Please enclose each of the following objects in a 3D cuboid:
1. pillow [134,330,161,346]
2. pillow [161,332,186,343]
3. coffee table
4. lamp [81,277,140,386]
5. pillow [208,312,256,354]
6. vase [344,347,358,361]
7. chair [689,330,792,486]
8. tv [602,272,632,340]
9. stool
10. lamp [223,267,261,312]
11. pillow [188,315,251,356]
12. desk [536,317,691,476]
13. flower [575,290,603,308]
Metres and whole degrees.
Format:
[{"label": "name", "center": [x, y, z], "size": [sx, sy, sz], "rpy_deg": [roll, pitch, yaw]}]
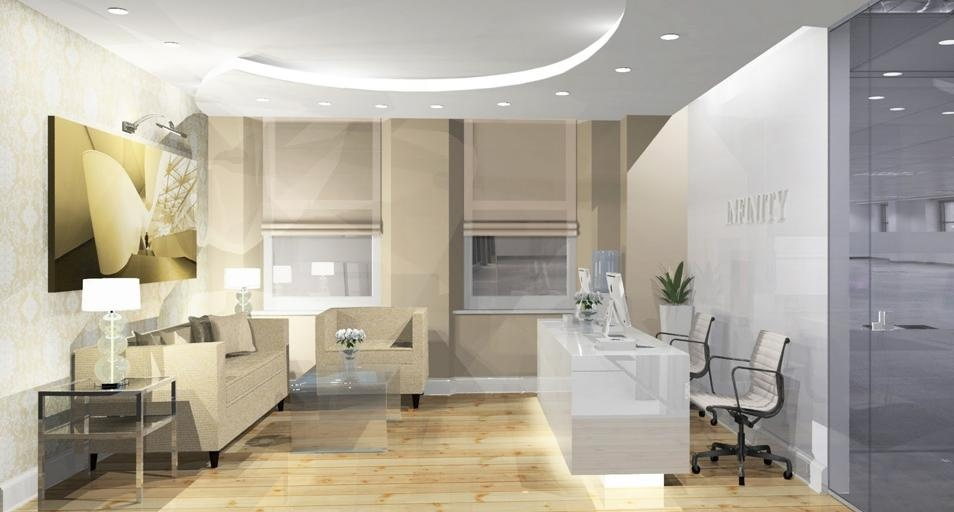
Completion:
[{"label": "pillow", "center": [-3.863, 0.976, 7.088], "size": [0.209, 0.134, 0.260], "rpy_deg": [2, -1, 8]}, {"label": "pillow", "center": [-3.805, 1.035, 7.511], "size": [0.178, 0.094, 0.169], "rpy_deg": [2, -3, -25]}, {"label": "coffee table", "center": [-4.029, 1.768, 6.926], "size": [1.299, 1.345, 1.699], "rpy_deg": [0, -1, -6]}, {"label": "lamp", "center": [-4.003, 0.825, 6.544], "size": [0.503, 1.145, 0.535], "rpy_deg": [0, 0, -36]}, {"label": "pillow", "center": [-3.291, 1.047, 7.997], "size": [0.179, 0.487, 0.573], "rpy_deg": [-22, -12, 27]}, {"label": "vase", "center": [-1.610, 1.256, 7.654], "size": [0.180, 0.111, 0.174], "rpy_deg": [2, -7, -35]}, {"label": "chair", "center": [3.109, 1.690, 7.020], "size": [1.014, 1.611, 1.207], "rpy_deg": [0, 0, 26]}, {"label": "tv", "center": [1.667, 0.627, 7.266], "size": [0.325, 0.809, 0.762], "rpy_deg": [-2, -2, -7]}, {"label": "stool", "center": [-1.648, 1.898, 7.665], "size": [1.130, 0.585, 1.052], "rpy_deg": [0, -3, 0]}, {"label": "lamp", "center": [-3.361, 0.503, 8.591], "size": [0.496, 0.630, 0.689], "rpy_deg": [0, -1, -20]}, {"label": "pillow", "center": [-3.315, 1.029, 7.664], "size": [0.192, 0.315, 0.545], "rpy_deg": [-21, -17, 36]}, {"label": "desk", "center": [1.531, 1.637, 6.944], "size": [1.278, 1.312, 1.426], "rpy_deg": [0, 0, -9]}, {"label": "flower", "center": [1.419, 0.548, 7.672], "size": [0.275, 0.199, 0.260], "rpy_deg": [1, 1, 6]}]
